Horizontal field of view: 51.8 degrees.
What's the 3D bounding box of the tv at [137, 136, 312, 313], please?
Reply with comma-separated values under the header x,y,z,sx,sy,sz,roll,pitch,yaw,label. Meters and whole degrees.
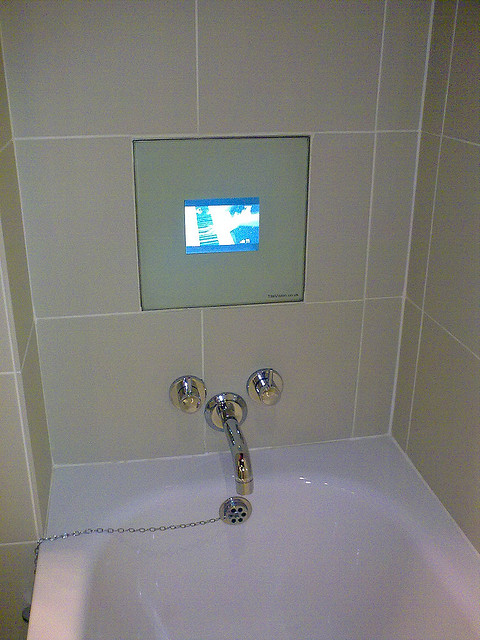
x,y,z,sx,sy,sz,roll,pitch,yaw,label
-0.045,-0.220,1.075,0.282,0.012,0.375,-2,-72,-9,tv
